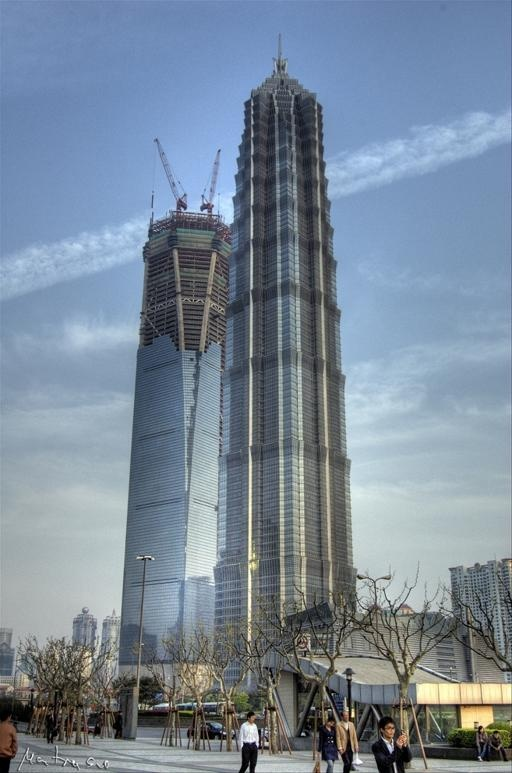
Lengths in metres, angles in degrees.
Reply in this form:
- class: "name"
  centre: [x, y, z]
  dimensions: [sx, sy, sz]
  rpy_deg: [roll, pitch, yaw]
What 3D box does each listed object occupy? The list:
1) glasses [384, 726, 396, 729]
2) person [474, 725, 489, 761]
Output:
- class: "glasses"
  centre: [1.759, 4.539, 9.403]
  dimensions: [0.100, 0.033, 0.101]
  rpy_deg: [12, -21, -32]
- class: "person"
  centre: [8.848, 14.075, 27.838]
  dimensions: [0.473, 1.075, 1.339]
  rpy_deg: [-6, -21, 15]
